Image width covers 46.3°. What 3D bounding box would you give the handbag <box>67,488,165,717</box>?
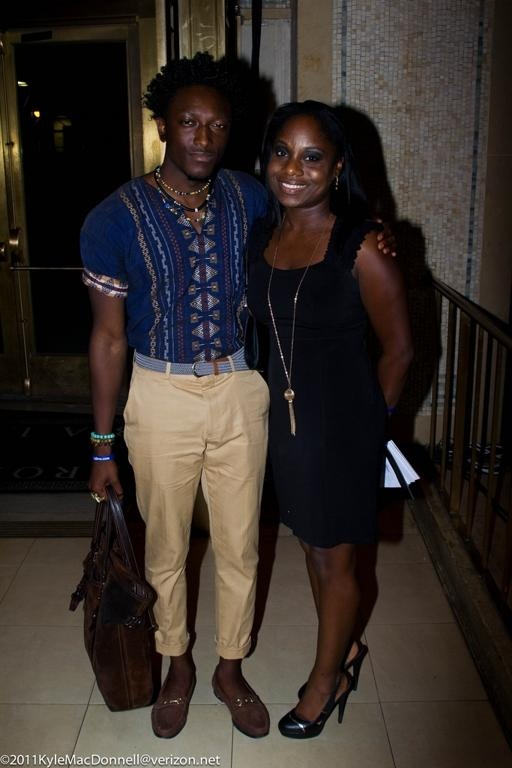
[{"bbox_3d":[-0.358,0.583,1.540,0.221,0.551,0.534,-4,10,-12],"label":"handbag"}]

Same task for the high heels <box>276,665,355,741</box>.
[{"bbox_3d":[0.155,0.809,1.601,0.238,0.177,0.092,-3,8,-29],"label":"high heels"}]

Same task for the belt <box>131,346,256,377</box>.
[{"bbox_3d":[-0.150,-0.048,1.380,0.269,0.049,0.101,-1,12,-1],"label":"belt"}]

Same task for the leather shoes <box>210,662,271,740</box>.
[{"bbox_3d":[-0.044,0.813,1.550,0.078,0.089,0.220,-3,16,-23],"label":"leather shoes"}]

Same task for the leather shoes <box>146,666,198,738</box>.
[{"bbox_3d":[-0.217,0.815,1.555,0.058,0.066,0.179,1,13,4],"label":"leather shoes"}]

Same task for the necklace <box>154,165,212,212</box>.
[{"bbox_3d":[-0.161,-0.431,1.339,0.130,0.099,0.075,-2,11,-8],"label":"necklace"}]

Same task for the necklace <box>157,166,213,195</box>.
[{"bbox_3d":[-0.170,-0.437,1.330,0.073,0.010,0.087,-9,-25,21],"label":"necklace"}]

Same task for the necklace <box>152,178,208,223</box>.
[{"bbox_3d":[-0.157,-0.408,1.328,0.088,0.016,0.112,-33,67,-34],"label":"necklace"}]

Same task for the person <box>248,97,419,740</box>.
[{"bbox_3d":[0.171,0.139,1.442,0.378,1.519,0.255,2,11,15],"label":"person"}]
